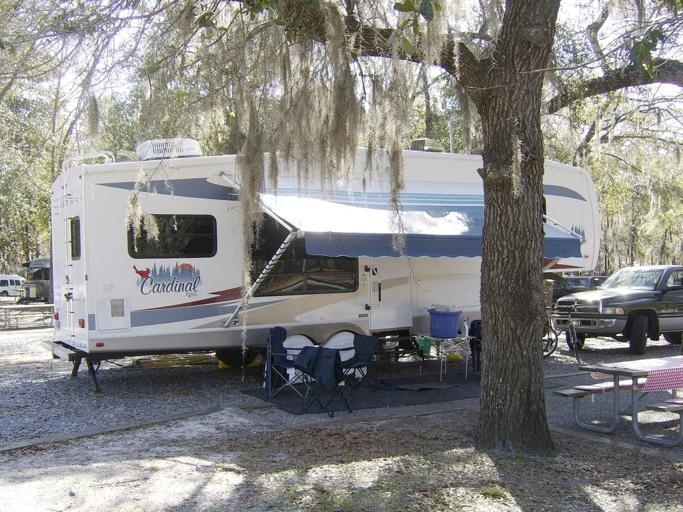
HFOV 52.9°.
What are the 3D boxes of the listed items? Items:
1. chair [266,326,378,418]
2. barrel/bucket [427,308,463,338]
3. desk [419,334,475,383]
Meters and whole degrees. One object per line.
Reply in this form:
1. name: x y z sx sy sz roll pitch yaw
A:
1. chair: -0.295 1.929 11.105 1.146 1.194 1.523 -11 -22 36
2. barrel/bucket: 1.923 1.272 12.953 0.511 0.403 0.528 0 -5 0
3. desk: 1.886 1.921 13.313 0.676 0.747 0.965 1 2 -32
